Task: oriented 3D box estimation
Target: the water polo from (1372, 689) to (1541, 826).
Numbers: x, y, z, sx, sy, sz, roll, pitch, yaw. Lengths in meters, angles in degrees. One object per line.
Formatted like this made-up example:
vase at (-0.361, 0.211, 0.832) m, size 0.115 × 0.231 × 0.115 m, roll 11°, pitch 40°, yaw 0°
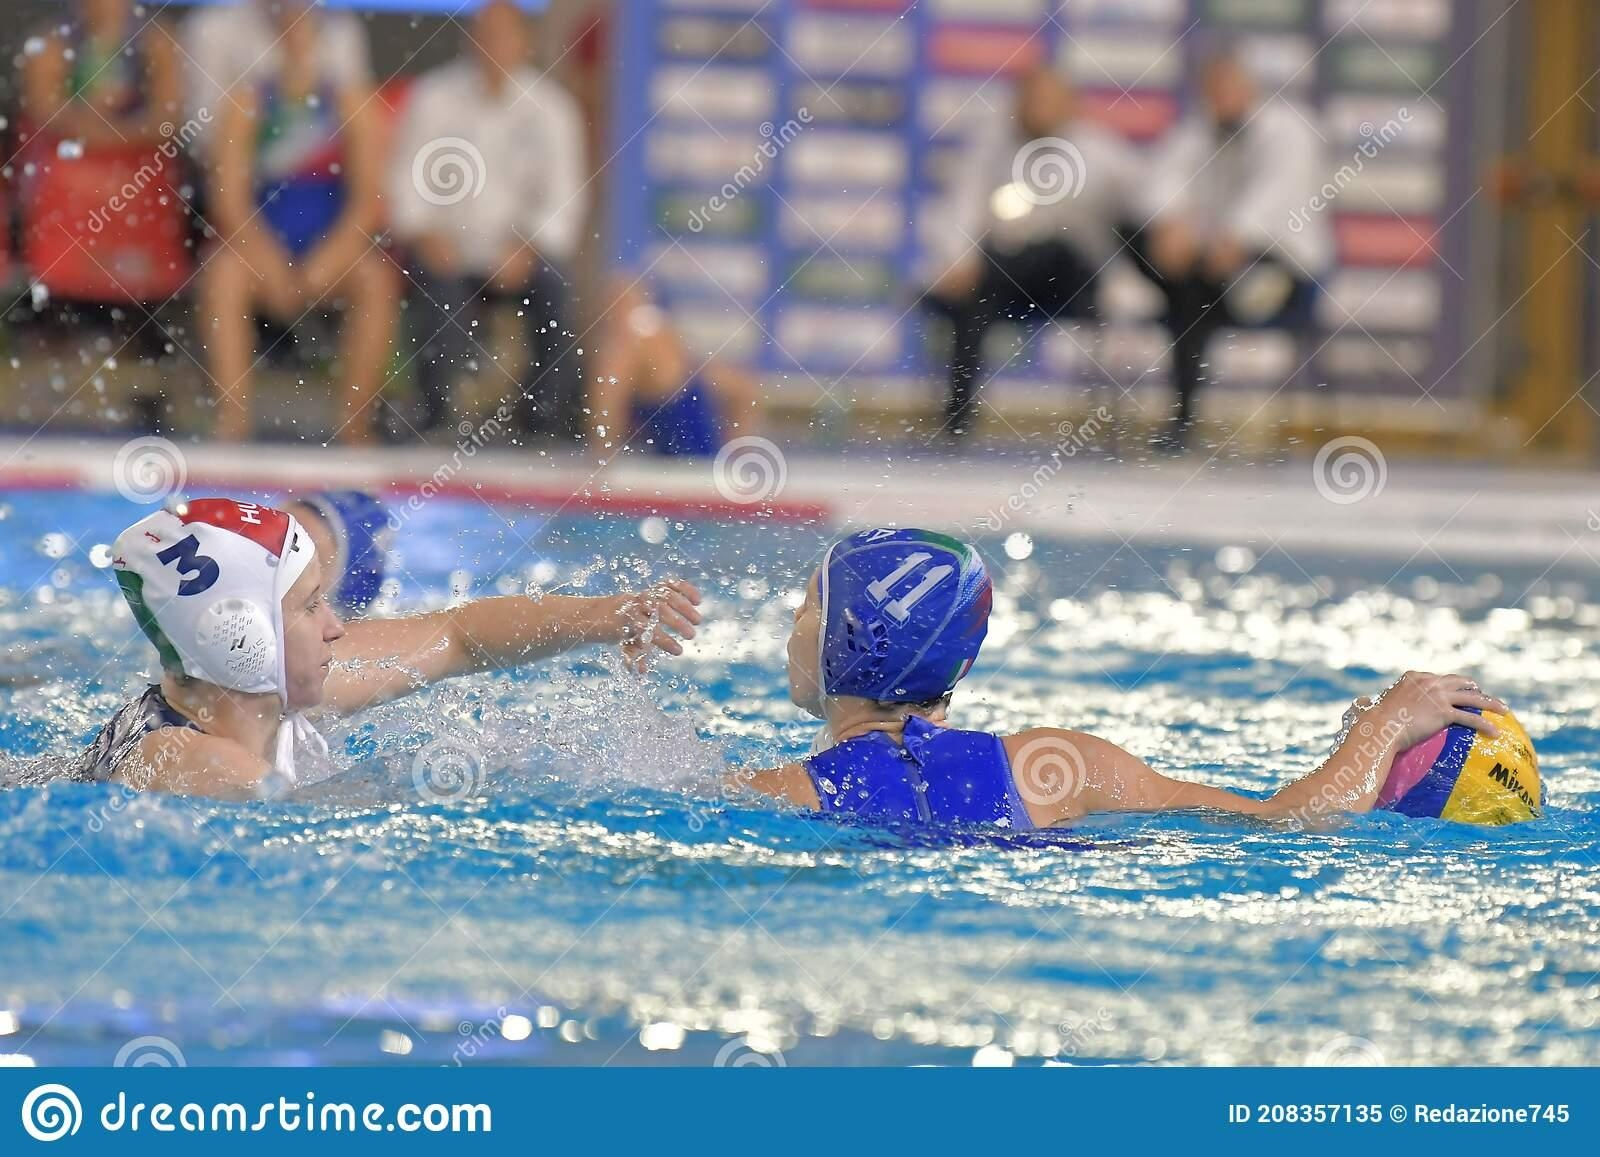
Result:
water polo at (1.348, 0.379, 5.325) m, size 0.287 × 0.298 × 0.240 m, roll 12°, pitch -2°, yaw -21°

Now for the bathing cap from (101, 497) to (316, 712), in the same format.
bathing cap at (-1.191, 0.024, 5.134) m, size 0.405 × 0.453 × 0.381 m, roll -9°, pitch 10°, yaw -17°

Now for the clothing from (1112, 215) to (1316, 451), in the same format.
clothing at (1.624, -0.916, 9.631) m, size 0.639 × 0.865 × 0.484 m, roll -6°, pitch 20°, yaw -19°

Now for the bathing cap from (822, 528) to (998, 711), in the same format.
bathing cap at (0.218, 0.080, 5.205) m, size 0.343 × 0.374 × 0.295 m, roll 3°, pitch 0°, yaw 5°
